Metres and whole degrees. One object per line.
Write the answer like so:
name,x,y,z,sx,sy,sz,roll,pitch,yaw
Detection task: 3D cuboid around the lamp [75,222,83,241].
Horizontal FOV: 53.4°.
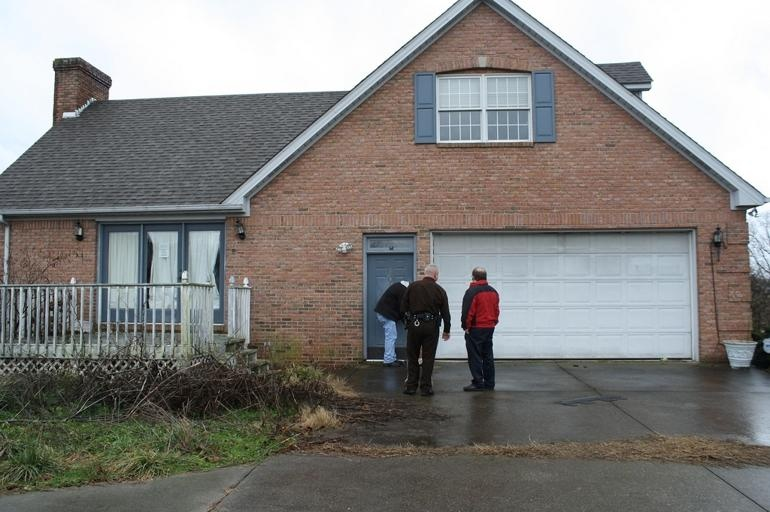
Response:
lamp,-7.486,-0.606,18.723,0.195,0.459,0.161,-1,-5,8

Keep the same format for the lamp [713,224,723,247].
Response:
lamp,7.764,-0.446,17.826,0.268,0.492,0.163,-1,-5,6

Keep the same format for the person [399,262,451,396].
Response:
person,0.805,1.427,14.804,0.913,2.507,0.801,4,-2,22

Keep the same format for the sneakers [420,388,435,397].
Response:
sneakers,0.803,2.564,14.522,0.245,0.176,0.322,-1,-5,2

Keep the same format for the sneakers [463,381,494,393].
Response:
sneakers,1.826,2.536,14.932,0.626,0.265,0.212,2,-3,-1

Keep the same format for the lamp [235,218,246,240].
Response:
lamp,-3.462,-0.639,18.312,0.239,0.543,0.168,0,-5,-6

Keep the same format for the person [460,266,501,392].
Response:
person,1.842,1.419,14.907,0.705,2.398,0.455,-1,-5,3

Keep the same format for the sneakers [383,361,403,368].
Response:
sneakers,0.198,2.499,17.727,0.473,0.157,0.160,-2,-2,-7
